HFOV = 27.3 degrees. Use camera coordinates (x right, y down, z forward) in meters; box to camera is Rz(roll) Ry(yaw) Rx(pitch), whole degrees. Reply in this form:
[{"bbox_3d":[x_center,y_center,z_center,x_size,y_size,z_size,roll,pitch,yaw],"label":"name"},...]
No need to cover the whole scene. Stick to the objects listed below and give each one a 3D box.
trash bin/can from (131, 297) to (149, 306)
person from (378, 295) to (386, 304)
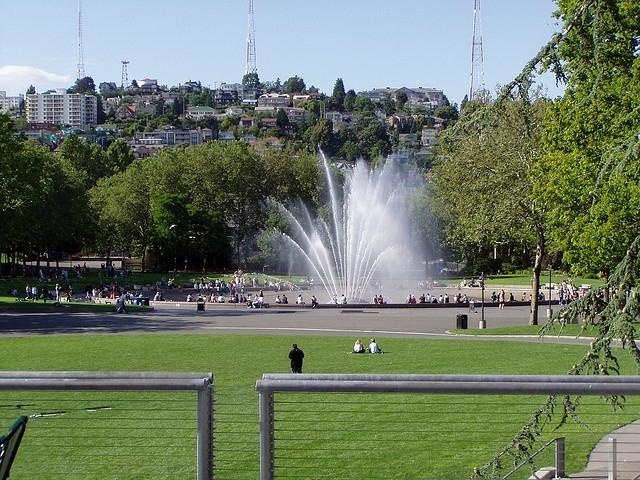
[{"bbox_3d":[-10.888,3.867,80.729,0.767,0.688,0.733,0,5,5],"label":"trash bin/can"},{"bbox_3d":[4.068,3.984,86.306,0.449,0.963,0.307,3,22,14],"label":"person"}]
